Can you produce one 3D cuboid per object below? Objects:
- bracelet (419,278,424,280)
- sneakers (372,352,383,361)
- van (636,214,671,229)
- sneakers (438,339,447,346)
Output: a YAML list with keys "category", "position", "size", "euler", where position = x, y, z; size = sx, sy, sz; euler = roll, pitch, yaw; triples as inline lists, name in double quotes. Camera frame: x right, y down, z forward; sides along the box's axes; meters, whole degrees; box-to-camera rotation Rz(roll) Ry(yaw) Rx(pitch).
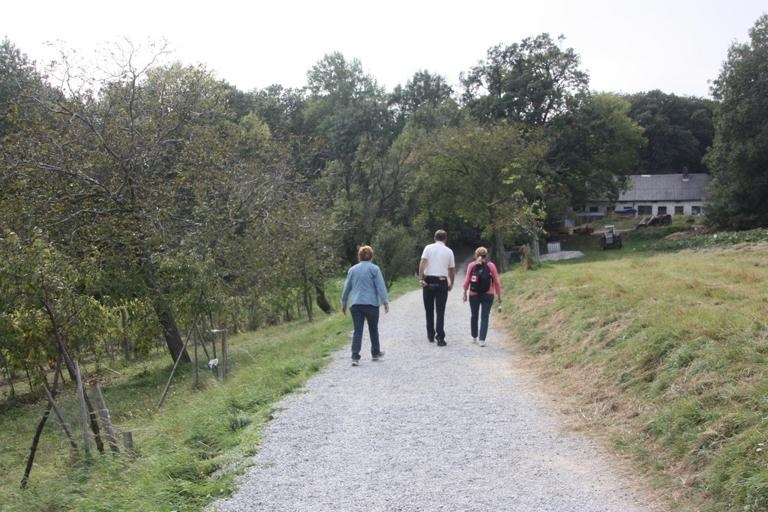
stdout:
- category: "bracelet"
  position: [1.244, 0.807, 22.757]
  size: [0.062, 0.064, 0.101]
  euler: [-25, -1, 14]
- category: "sneakers"
  position: [-0.159, 3.085, 21.749]
  size: [0.140, 0.216, 0.441]
  euler: [4, 19, 24]
- category: "van"
  position: [22.588, -2.752, 59.853]
  size: [2.607, 1.080, 3.266]
  euler: [-9, -2, 43]
- category: "sneakers"
  position: [1.896, 2.808, 22.788]
  size: [0.272, 0.208, 0.151]
  euler: [-3, 2, 8]
